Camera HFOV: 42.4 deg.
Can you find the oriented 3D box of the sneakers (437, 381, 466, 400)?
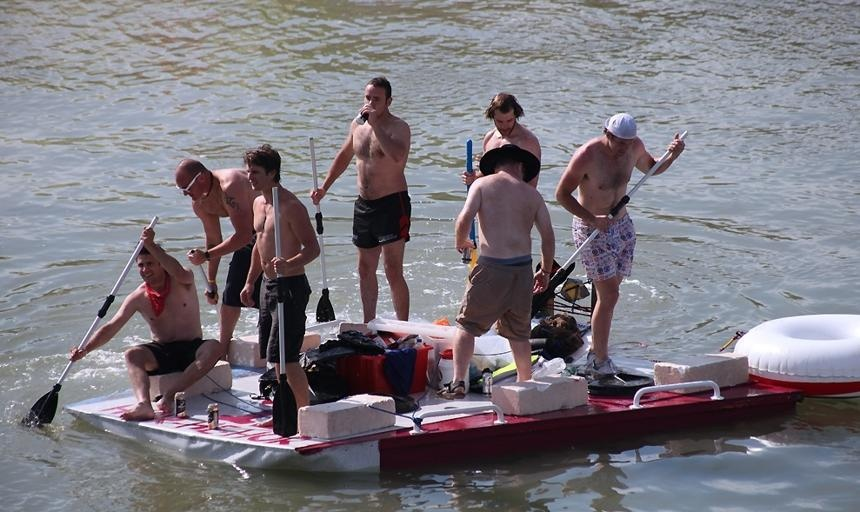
[{"bbox_3d":[0.353,2.077,17.014,0.555,0.183,0.215,4,9,36],"label":"sneakers"}]

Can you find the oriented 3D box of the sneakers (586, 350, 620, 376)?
[{"bbox_3d":[2.681,1.732,17.464,0.622,0.189,0.274,5,13,9],"label":"sneakers"}]

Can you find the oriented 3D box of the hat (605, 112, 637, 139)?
[{"bbox_3d":[2.970,-2.002,17.292,0.446,0.244,0.459,-2,26,-3],"label":"hat"}]

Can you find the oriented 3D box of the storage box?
[{"bbox_3d":[-0.732,1.826,17.288,1.320,0.471,0.743,0,3,4],"label":"storage box"}]

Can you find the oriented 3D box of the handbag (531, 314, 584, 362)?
[{"bbox_3d":[2.115,1.353,18.234,0.797,0.704,0.349,-9,1,-4],"label":"handbag"}]
